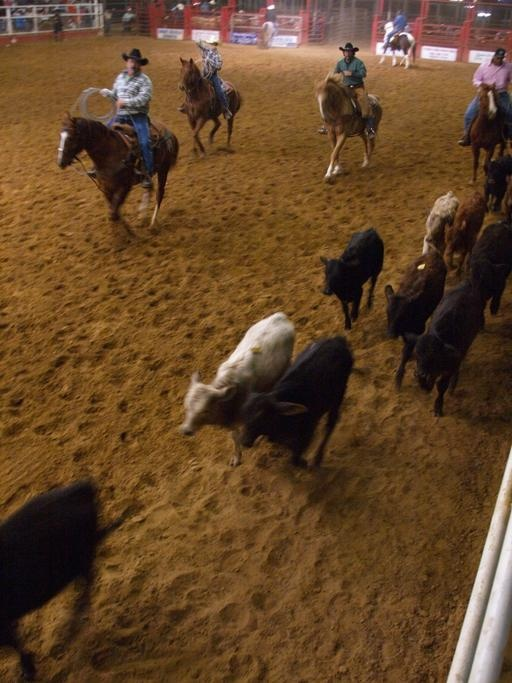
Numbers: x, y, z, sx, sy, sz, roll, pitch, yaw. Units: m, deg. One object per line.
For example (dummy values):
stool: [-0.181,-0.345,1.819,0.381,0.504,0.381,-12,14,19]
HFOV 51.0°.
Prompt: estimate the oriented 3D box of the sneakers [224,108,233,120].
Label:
sneakers: [-0.656,-5.316,12.520,0.218,0.308,0.231,-2,6,-3]

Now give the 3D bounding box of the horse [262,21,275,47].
horse: [0.723,-18.558,32.502,0.450,1.326,0.920,24,35,34]

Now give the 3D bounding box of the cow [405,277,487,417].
cow: [1.731,0.074,4.911,0.373,0.674,1.298,12,56,30]

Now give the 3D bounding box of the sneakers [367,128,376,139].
sneakers: [2.373,-4.283,11.051,0.131,0.216,0.227,-5,40,6]

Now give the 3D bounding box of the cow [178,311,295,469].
cow: [-0.164,0.442,4.458,0.473,0.842,1.636,10,37,29]

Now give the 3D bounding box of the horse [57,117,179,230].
horse: [-2.097,-2.704,8.697,0.706,1.942,2.913,17,30,20]

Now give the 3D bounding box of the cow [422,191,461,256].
cow: [2.288,-1.431,6.735,0.288,0.696,0.648,17,32,25]

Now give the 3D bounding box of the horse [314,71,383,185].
horse: [2.003,-4.450,11.200,0.645,1.747,2.881,14,28,34]

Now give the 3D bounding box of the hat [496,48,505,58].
hat: [4.631,-5.466,10.180,0.156,0.134,0.359,15,31,20]
